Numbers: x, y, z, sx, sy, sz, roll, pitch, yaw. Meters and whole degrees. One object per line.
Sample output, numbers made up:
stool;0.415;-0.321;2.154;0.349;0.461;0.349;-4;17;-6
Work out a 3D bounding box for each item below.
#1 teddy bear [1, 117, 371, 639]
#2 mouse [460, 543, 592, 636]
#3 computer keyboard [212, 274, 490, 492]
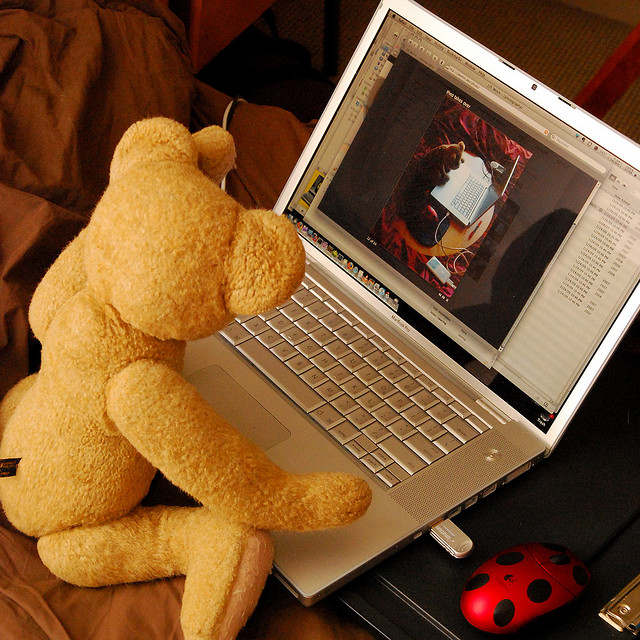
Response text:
teddy bear;-0.089;0.071;0.490;0.265;0.307;0.124;36;26;11
mouse;0.144;0.191;0.515;0.084;0.029;0.055;-29;55;-10
computer keyboard;0.020;0.074;0.702;0.156;0.016;0.386;-30;51;-23
